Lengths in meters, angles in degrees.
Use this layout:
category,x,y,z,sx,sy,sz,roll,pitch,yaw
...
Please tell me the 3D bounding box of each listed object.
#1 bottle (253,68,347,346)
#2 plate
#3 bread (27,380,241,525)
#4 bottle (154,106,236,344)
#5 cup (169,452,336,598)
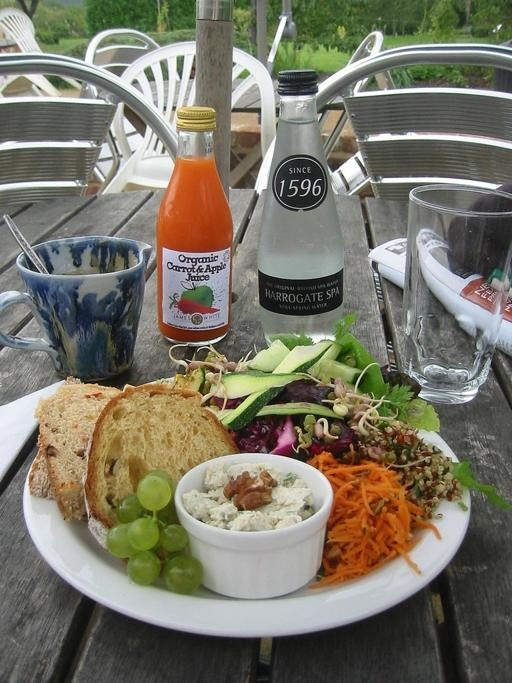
category,x,y,z,sx,sy,sz,roll,pitch,yaw
bottle,0.036,-0.161,0.688,0.099,0.314,0.101,1,16,0
plate,-0.020,0.132,0.373,0.335,0.052,0.155,6,36,10
bread,-0.100,0.079,0.487,0.152,0.108,0.133,4,17,12
bottle,-0.086,-0.142,0.702,0.100,0.293,0.097,1,21,0
cup,-0.003,0.140,0.424,0.107,0.077,0.127,-5,33,-12
